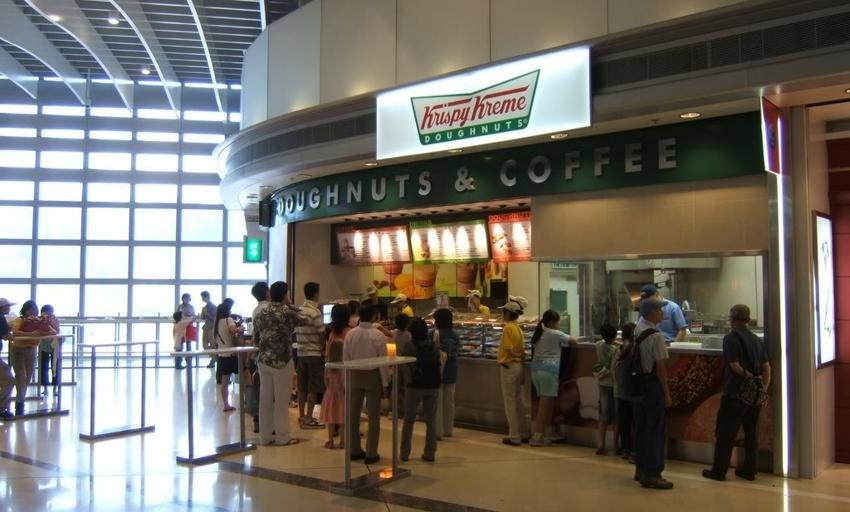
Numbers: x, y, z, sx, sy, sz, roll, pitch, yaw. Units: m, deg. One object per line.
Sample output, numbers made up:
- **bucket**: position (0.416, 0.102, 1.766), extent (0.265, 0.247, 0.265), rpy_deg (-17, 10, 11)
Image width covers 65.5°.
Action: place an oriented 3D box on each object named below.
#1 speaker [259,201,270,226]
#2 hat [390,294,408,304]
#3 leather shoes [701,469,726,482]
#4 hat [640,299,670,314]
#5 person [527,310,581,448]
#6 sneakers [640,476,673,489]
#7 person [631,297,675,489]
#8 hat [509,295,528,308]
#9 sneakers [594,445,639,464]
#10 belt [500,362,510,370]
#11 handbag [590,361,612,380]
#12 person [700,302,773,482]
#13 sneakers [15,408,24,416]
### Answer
- **speaker**: position (-3.513, -0.946, 14.493), extent (0.128, 0.605, 0.446), rpy_deg (-5, 7, -39)
- **hat**: position (-0.486, 0.794, 12.242), extent (0.302, 0.130, 0.188), rpy_deg (3, -7, -23)
- **leather shoes**: position (3.825, 2.923, 8.852), extent (0.118, 0.131, 0.295), rpy_deg (5, 4, -43)
- **hat**: position (3.034, 0.678, 8.792), extent (0.320, 0.157, 0.208), rpy_deg (-14, 8, -2)
- **person**: position (1.800, 1.815, 9.949), extent (0.626, 1.976, 0.351), rpy_deg (-4, 6, -30)
- **sneakers**: position (2.989, 2.953, 8.637), extent (0.427, 0.168, 0.149), rpy_deg (-1, -3, 0)
- **person**: position (2.961, 1.791, 8.643), extent (0.528, 2.408, 0.492), rpy_deg (1, 6, 16)
- **hat**: position (1.495, 0.744, 10.735), extent (0.362, 0.123, 0.223), rpy_deg (25, 6, -3)
- **sneakers**: position (2.674, 2.859, 9.475), extent (0.698, 0.271, 0.216), rpy_deg (-9, -15, 36)
- **belt**: position (1.198, 1.646, 9.873), extent (0.086, 0.093, 0.027), rpy_deg (41, -16, 41)
- **handbag**: position (2.532, 1.655, 9.537), extent (0.231, 0.229, 0.188), rpy_deg (12, -24, -44)
- **person**: position (4.133, 1.809, 8.773), extent (0.840, 2.302, 0.392), rpy_deg (0, 6, 9)
- **sneakers**: position (-6.998, 2.695, 11.390), extent (0.137, 0.138, 0.128), rpy_deg (2, -15, -14)
